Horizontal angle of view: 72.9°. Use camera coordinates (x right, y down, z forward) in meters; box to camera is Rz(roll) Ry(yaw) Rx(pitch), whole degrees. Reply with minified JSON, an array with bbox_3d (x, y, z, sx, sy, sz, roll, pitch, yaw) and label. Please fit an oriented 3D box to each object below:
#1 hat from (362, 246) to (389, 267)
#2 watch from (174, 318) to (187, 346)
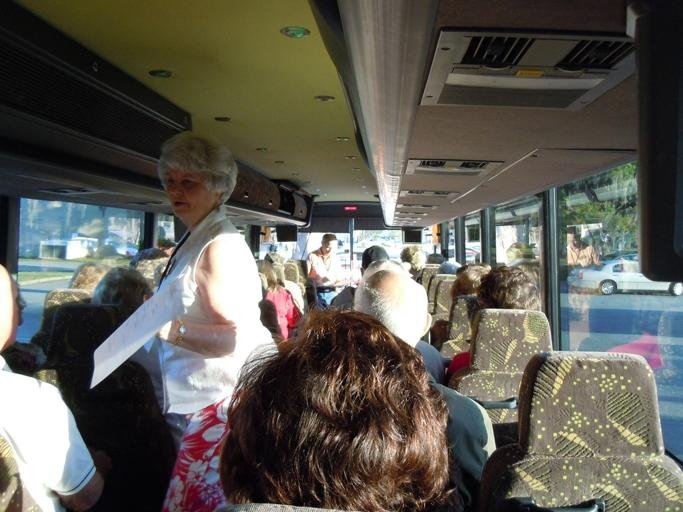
[{"bbox_3d":[0.498,0.001,6.780,0.360,0.384,0.269,-8,0,5],"label":"hat"},{"bbox_3d":[-0.614,0.291,1.764,0.054,0.090,0.078,-1,-2,-11],"label":"watch"}]
